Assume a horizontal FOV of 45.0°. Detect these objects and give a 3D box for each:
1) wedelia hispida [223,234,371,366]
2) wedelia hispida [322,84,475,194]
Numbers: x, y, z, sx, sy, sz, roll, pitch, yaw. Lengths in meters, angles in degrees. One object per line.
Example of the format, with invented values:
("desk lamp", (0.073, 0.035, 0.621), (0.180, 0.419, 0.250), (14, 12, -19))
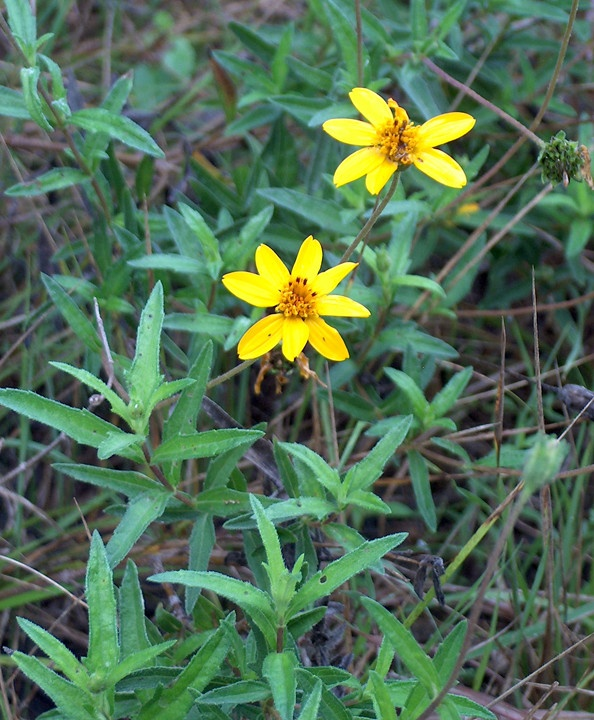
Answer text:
("wedelia hispida", (-0.010, -0.164, 2.229), (0.389, 0.336, 0.391), (-11, 81, -4))
("wedelia hispida", (0.313, -0.651, 2.397), (0.471, 0.148, 0.441), (16, 51, 18))
